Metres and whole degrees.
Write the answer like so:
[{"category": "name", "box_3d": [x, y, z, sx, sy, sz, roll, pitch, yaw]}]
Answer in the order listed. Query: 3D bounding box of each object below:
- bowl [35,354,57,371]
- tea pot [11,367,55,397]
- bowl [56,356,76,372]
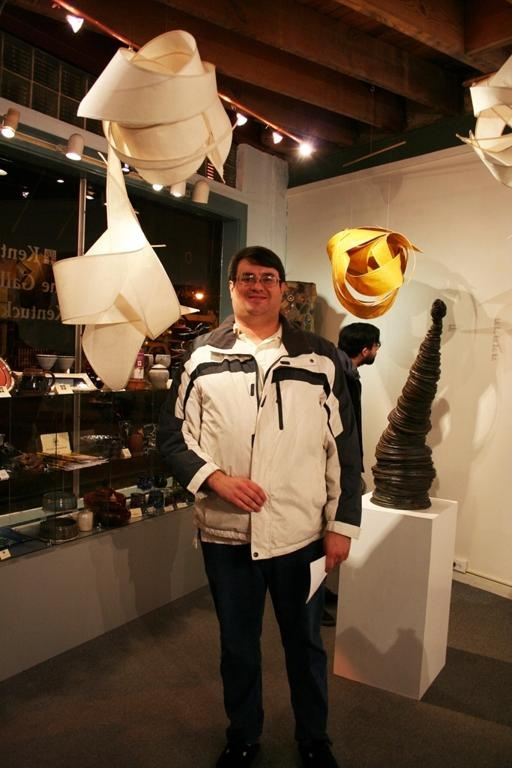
[{"category": "bowl", "box_3d": [-1.003, -0.099, 2.673, 0.088, 0.067, 0.086, -1, 0, 0]}, {"category": "tea pot", "box_3d": [-0.976, -0.011, 2.442, 0.143, 0.120, 0.107, 2, -1, -10]}, {"category": "bowl", "box_3d": [-0.963, -0.108, 2.809, 0.088, 0.068, 0.090, 1, 6, 0]}]
